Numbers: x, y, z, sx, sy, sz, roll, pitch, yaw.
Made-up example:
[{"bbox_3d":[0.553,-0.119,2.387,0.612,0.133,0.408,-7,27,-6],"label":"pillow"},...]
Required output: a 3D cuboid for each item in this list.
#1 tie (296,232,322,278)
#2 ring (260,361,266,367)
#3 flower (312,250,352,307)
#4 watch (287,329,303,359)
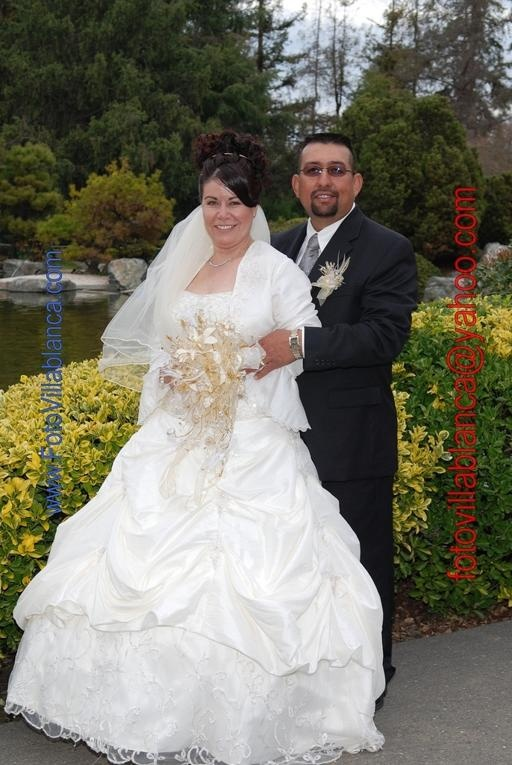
[{"bbox_3d":[0.258,-0.605,3.294,0.059,0.263,0.069,18,-20,5],"label":"tie"},{"bbox_3d":[0.028,-0.070,2.719,0.016,0.020,0.008,-6,10,-44],"label":"ring"},{"bbox_3d":[0.347,-0.477,3.101,0.091,0.207,0.193,37,-28,-12],"label":"flower"},{"bbox_3d":[0.158,-0.151,2.736,0.065,0.096,0.100,-4,7,3],"label":"watch"}]
